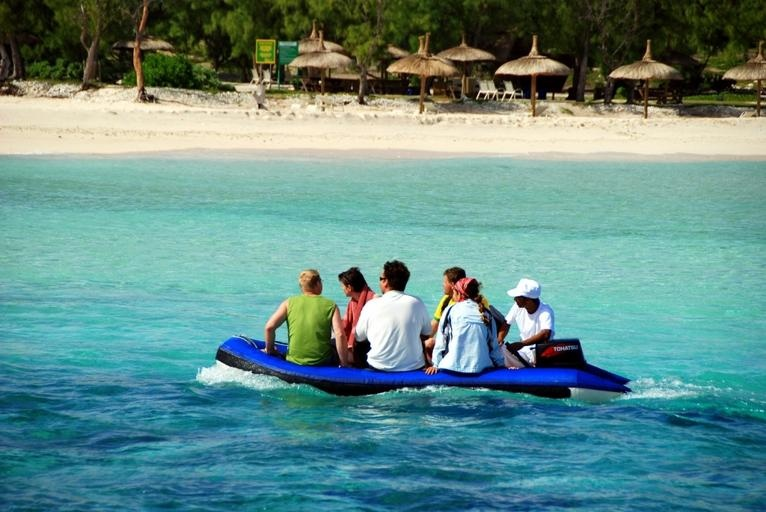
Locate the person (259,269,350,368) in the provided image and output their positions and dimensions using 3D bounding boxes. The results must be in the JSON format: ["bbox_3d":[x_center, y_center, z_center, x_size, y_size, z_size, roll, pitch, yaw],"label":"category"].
[{"bbox_3d":[-1.368,1.121,21.052,1.476,1.763,0.423,1,8,5],"label":"person"}]

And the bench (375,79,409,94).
[{"bbox_3d":[0.447,-8.289,56.453,1.073,0.434,1.018,2,6,9],"label":"bench"}]
